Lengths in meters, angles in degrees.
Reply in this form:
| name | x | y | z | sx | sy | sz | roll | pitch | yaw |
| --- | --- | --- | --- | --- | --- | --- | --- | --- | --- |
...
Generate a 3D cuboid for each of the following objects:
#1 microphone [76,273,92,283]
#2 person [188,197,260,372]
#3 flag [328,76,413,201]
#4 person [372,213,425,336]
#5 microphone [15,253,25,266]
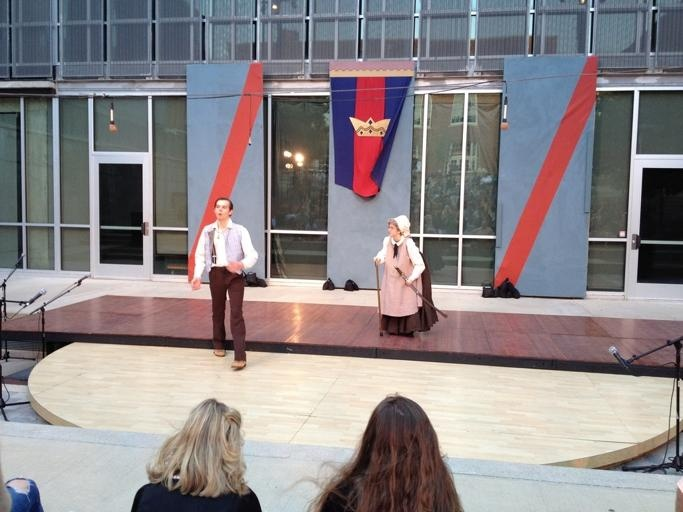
| name | x | y | z | sx | sy | sz | roll | pitch | yaw |
| --- | --- | --- | --- | --- | --- | --- | --- | --- | --- |
| microphone | -5.187 | 0.429 | 15.706 | 0.087 | 0.150 | 0.345 | 15 | 37 | 27 |
| person | -1.672 | 0.351 | 11.180 | 0.871 | 2.360 | 0.638 | 3 | 6 | 20 |
| flag | 0.663 | -2.505 | 16.120 | 2.015 | 3.424 | 0.440 | 1 | 1 | 7 |
| person | 0.884 | 0.258 | 12.077 | 0.690 | 1.860 | 0.626 | 12 | 25 | 29 |
| microphone | -6.318 | 0.054 | 15.326 | 0.058 | 0.267 | 0.096 | 16 | -15 | 18 |
